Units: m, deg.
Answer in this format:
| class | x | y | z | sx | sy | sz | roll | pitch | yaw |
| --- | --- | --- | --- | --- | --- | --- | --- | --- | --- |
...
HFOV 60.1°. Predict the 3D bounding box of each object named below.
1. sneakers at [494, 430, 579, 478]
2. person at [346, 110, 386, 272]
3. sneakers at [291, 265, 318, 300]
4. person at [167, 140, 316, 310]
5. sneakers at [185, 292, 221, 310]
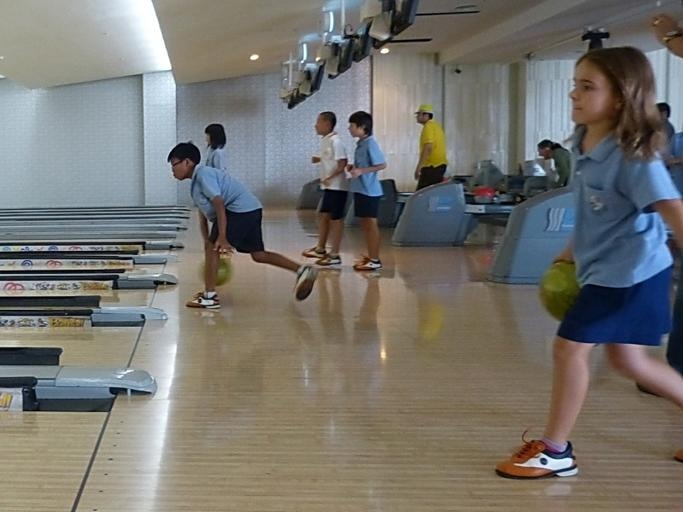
| class | x | y | z | sx | sy | sz | roll | pitch | yaw |
| --- | --- | --- | --- | --- | --- | --- | --- | --- | --- |
| sneakers | 0.652 | 0.688 | 2.016 | 0.282 | 0.100 | 0.112 | 0 | -7 | -1 |
| person | 0.242 | -0.661 | 5.845 | 0.373 | 1.542 | 0.669 | 1 | 12 | 1 |
| sneakers | -0.273 | 0.193 | 4.223 | 0.133 | 0.267 | 0.122 | 1 | -34 | 34 |
| person | -0.850 | -0.232 | 4.326 | 0.477 | 1.152 | 0.683 | 9 | 14 | 36 |
| sneakers | -0.975 | 0.325 | 4.216 | 0.295 | 0.104 | 0.097 | 1 | -2 | 1 |
